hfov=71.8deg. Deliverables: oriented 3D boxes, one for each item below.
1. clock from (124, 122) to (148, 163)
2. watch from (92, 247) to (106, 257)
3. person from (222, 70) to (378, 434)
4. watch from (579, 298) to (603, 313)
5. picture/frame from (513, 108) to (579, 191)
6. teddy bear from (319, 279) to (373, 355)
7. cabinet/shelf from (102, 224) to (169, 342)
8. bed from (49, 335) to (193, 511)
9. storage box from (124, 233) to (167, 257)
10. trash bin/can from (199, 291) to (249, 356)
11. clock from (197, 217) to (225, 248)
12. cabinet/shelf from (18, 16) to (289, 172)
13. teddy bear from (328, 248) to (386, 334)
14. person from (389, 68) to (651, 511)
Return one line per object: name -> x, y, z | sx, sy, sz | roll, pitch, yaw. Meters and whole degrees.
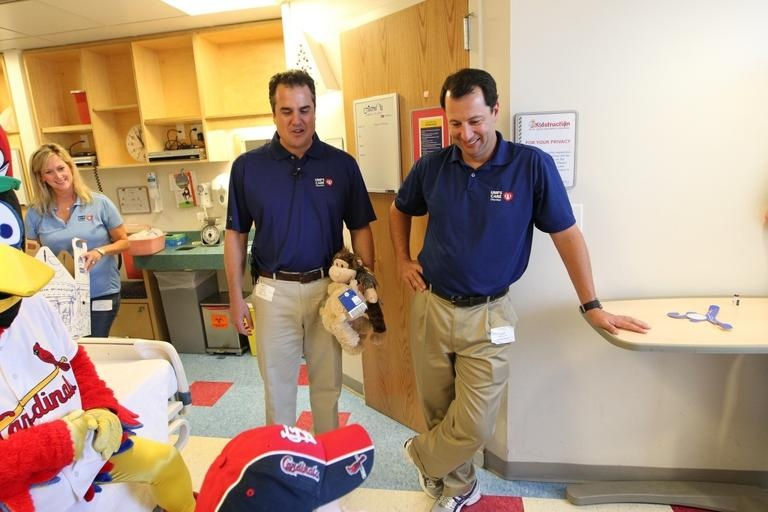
clock -> -2.190, -1.031, 4.830 | 0.372, 0.364, 0.035 | 0, 5, 15
watch -> -1.889, -0.022, 3.519 | 0.015, 0.053, 0.054 | -41, 29, -27
person -> -0.481, 0.203, 3.062 | 0.877, 2.407, 0.699 | -1, 11, -5
watch -> 1.056, 0.248, 2.698 | 0.070, 0.048, 0.095 | -26, 8, -37
picture/frame -> 0.840, -0.563, 2.752 | 0.462, 0.536, 0.059 | -1, 5, 3
teddy bear -> -0.213, 0.279, 3.030 | 0.324, 0.208, 0.436 | 0, 38, -7
cabinet/shelf -> -2.155, 0.387, 4.725 | 0.387, 0.748, 0.262 | -1, 4, 17
bed -> -1.131, 0.868, 2.757 | 0.729, 0.470, 0.719 | 5, 34, 3
storage box -> -1.962, -0.093, 4.396 | 0.234, 0.099, 0.171 | -4, 12, -18
trash bin/can -> -1.410, 0.588, 4.754 | 0.431, 0.605, 0.610 | 0, 9, 2
clock -> -1.537, -0.214, 4.752 | 0.252, 0.352, 0.236 | 0, 1, -13
cabinet/shelf -> -2.042, -1.338, 4.800 | 2.393, 1.100, 0.433 | 0, 17, 16
teddy bear -> -0.128, 0.194, 3.076 | 0.325, 0.431, 0.176 | -27, 9, -11
person -> 0.530, 0.131, 2.780 | 1.081, 2.131, 0.540 | 0, 16, 14
